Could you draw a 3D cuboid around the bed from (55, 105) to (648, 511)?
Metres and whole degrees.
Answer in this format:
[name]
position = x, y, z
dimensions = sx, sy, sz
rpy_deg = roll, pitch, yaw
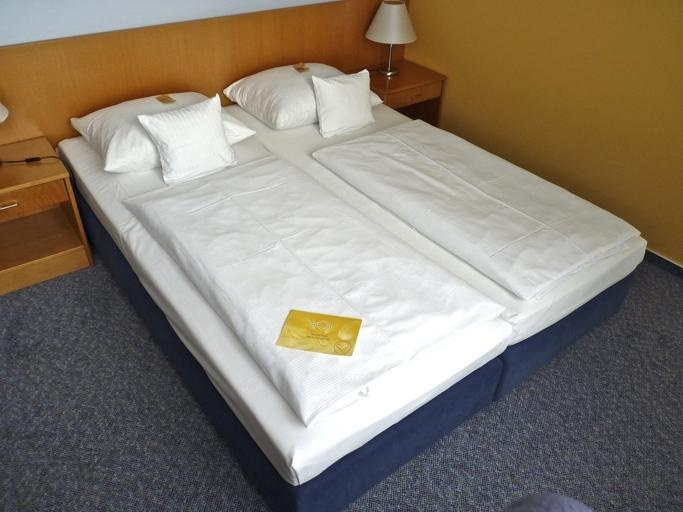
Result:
[bed]
position = 0.027, -0.179, 2.987
dimensions = 2.454, 0.371, 2.623
rpy_deg = -29, 54, -26
